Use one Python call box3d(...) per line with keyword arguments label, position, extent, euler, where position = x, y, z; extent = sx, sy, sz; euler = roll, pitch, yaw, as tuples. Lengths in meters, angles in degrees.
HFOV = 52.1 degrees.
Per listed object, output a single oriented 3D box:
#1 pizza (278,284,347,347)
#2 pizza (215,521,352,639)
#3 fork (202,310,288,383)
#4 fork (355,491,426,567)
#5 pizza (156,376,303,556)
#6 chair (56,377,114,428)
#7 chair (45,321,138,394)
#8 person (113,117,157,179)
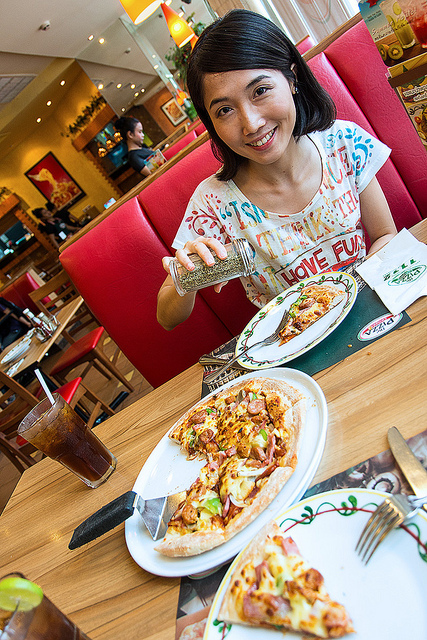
box3d(label="pizza", position=(0.209, -0.021, 0.894), extent=(0.144, 0.021, 0.096), euler=(-41, 26, -13))
box3d(label="pizza", position=(0.069, 0.243, 0.406), extent=(0.136, 0.029, 0.104), euler=(-21, 28, 46))
box3d(label="fork", position=(0.071, 0.055, 1.033), extent=(0.248, 0.036, 0.032), euler=(-38, 14, -9))
box3d(label="fork", position=(0.159, 0.189, 0.391), extent=(0.071, 0.009, 0.012), euler=(-50, 38, 2))
box3d(label="pizza", position=(0.023, 0.200, 0.634), extent=(0.193, 0.035, 0.309), euler=(-8, 29, 20))
box3d(label="chair", position=(-0.748, 0.508, 2.541), extent=(0.233, 0.264, 0.248), euler=(-36, 17, 14))
box3d(label="chair", position=(-0.869, 0.292, 3.143), extent=(0.338, 0.496, 0.351), euler=(-26, 32, 28))
box3d(label="person", position=(-0.908, -2.196, 5.491), extent=(0.462, 0.701, 0.680), euler=(-3, 38, 5))
